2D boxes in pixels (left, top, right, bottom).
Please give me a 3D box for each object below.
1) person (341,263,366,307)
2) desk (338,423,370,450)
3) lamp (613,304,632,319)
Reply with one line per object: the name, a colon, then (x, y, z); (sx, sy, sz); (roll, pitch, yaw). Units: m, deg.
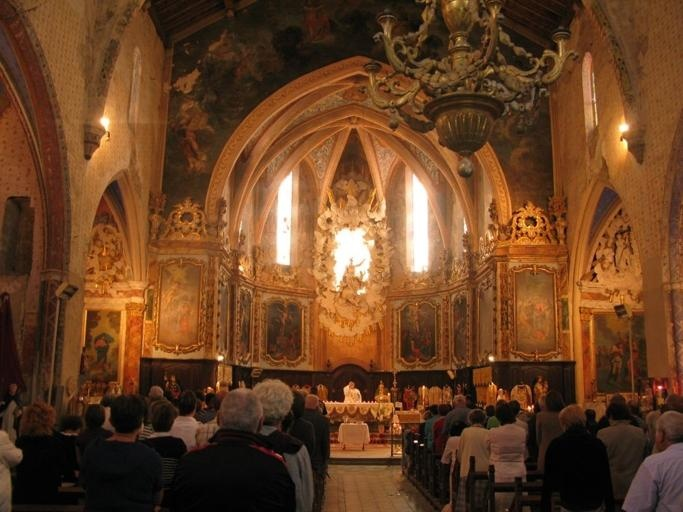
person: (0.439, 1.100, 26.368); (1.019, 1.555, 0.460); (1, -16, 2)
desk: (0.375, 5.189, 19.383); (0.891, 0.696, 0.911); (1, -6, -4)
lamp: (7.225, 1.427, 17.281); (0.187, 0.254, 0.356); (-23, -29, 23)
